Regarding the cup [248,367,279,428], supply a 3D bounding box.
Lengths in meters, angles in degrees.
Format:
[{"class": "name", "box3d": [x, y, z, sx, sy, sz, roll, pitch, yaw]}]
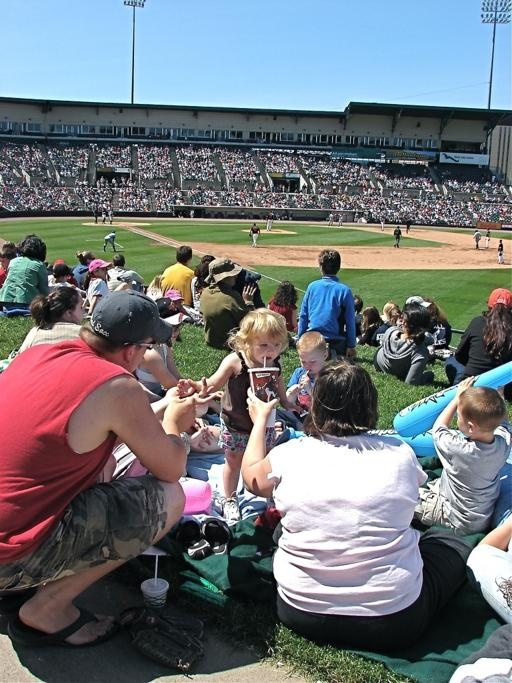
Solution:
[{"class": "cup", "box3d": [0.051, 0.308, 3.961, 0.205, 0.248, 0.360, 1, 14, 2]}]

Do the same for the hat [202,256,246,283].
[{"class": "hat", "box3d": [-0.430, -1.091, 8.206, 0.422, 0.218, 0.439, 5, 37, 41]}]

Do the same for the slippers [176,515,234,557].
[{"class": "slippers", "box3d": [-0.325, 1.210, 3.444, 0.283, 0.115, 0.370, 2, 16, 0]}]

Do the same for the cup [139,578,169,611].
[{"class": "cup", "box3d": [-0.528, 1.314, 2.922, 0.137, 0.116, 0.128, 1, 12, 0]}]

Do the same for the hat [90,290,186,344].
[{"class": "hat", "box3d": [-0.607, -0.101, 2.858, 0.392, 0.205, 0.255, -11, 45, -36]}]

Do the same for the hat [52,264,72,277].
[{"class": "hat", "box3d": [-3.491, -1.254, 10.025, 0.255, 0.261, 0.499, -5, 15, -21]}]

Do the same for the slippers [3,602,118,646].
[{"class": "slippers", "box3d": [-0.938, 1.363, 2.686, 0.360, 0.058, 0.201, 6, 10, -9]}]

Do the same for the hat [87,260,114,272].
[{"class": "hat", "box3d": [-2.906, -1.378, 10.336, 0.346, 0.237, 0.469, -4, 15, -18]}]
